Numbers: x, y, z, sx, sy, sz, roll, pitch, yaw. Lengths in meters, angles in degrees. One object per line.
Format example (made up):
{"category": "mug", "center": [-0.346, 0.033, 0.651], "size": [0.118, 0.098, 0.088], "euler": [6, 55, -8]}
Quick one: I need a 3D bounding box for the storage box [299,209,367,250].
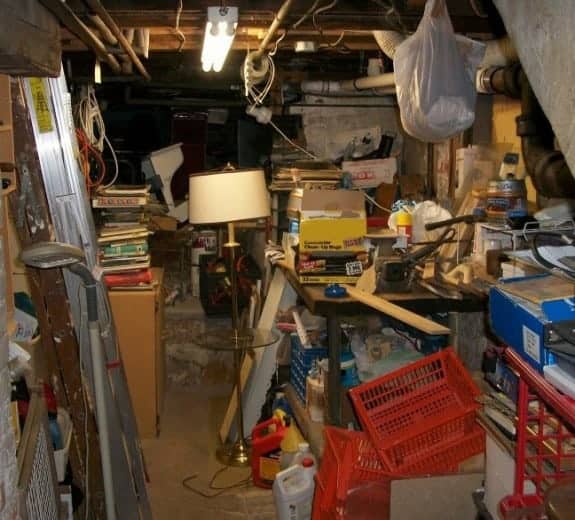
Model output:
{"category": "storage box", "center": [0.287, -0.172, 3.297], "size": [0.387, 0.189, 0.290], "euler": [0, 9, 15]}

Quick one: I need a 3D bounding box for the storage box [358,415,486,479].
{"category": "storage box", "center": [0.592, 0.787, 2.293], "size": [0.396, 0.138, 0.286], "euler": [-20, 38, 7]}

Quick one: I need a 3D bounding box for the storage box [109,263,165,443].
{"category": "storage box", "center": [-1.074, 0.724, 4.129], "size": [0.446, 1.127, 0.308], "euler": [-7, 8, -36]}

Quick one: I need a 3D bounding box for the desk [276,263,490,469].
{"category": "desk", "center": [0.479, 0.483, 2.893], "size": [0.702, 0.504, 0.778], "euler": [-2, 13, -10]}

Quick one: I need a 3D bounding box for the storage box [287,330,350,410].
{"category": "storage box", "center": [0.180, 0.624, 3.446], "size": [0.315, 0.424, 0.573], "euler": [0, 8, -9]}

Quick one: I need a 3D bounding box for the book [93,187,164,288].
{"category": "book", "center": [-1.212, -0.190, 4.123], "size": [0.536, 0.800, 0.226], "euler": [0, -2, -11]}
